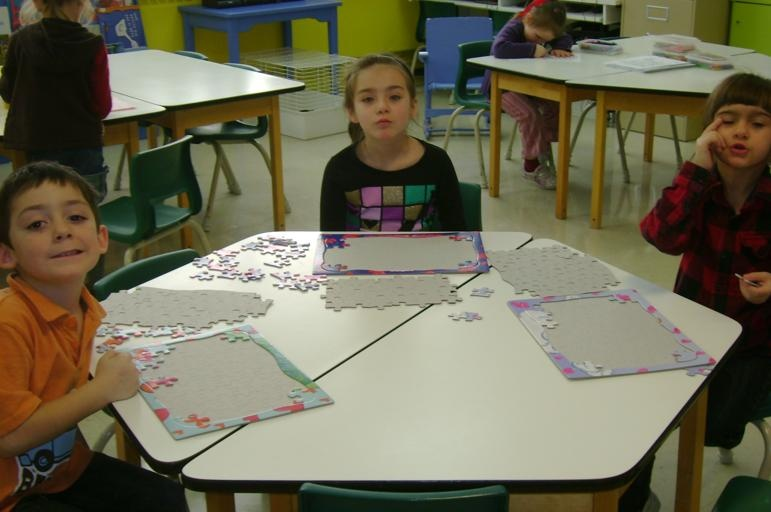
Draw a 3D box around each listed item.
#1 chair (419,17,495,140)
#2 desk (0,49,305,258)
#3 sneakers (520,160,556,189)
[{"bbox_3d":[0.645,-1.548,5.668,0.741,0.917,0.753,2,8,16],"label":"chair"},{"bbox_3d":[-1.289,-0.449,3.951,1.480,0.725,1.235,22,31,37],"label":"desk"},{"bbox_3d":[1.155,-0.597,4.840,0.137,0.130,0.286,-33,41,-28],"label":"sneakers"}]
